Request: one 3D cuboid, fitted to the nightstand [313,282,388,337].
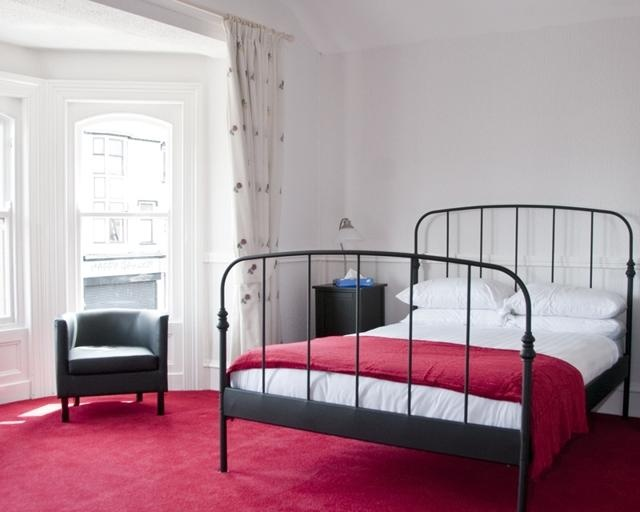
[{"bbox_3d":[0.280,0.393,4.248,0.468,0.627,0.428,2,4,34],"label":"nightstand"}]

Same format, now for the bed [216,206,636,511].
[{"bbox_3d":[0.823,0.530,3.128,1.552,1.401,2.105,0,0,31],"label":"bed"}]

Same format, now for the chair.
[{"bbox_3d":[-1.395,0.696,3.652,0.690,0.653,0.650,1,0,-19],"label":"chair"}]
